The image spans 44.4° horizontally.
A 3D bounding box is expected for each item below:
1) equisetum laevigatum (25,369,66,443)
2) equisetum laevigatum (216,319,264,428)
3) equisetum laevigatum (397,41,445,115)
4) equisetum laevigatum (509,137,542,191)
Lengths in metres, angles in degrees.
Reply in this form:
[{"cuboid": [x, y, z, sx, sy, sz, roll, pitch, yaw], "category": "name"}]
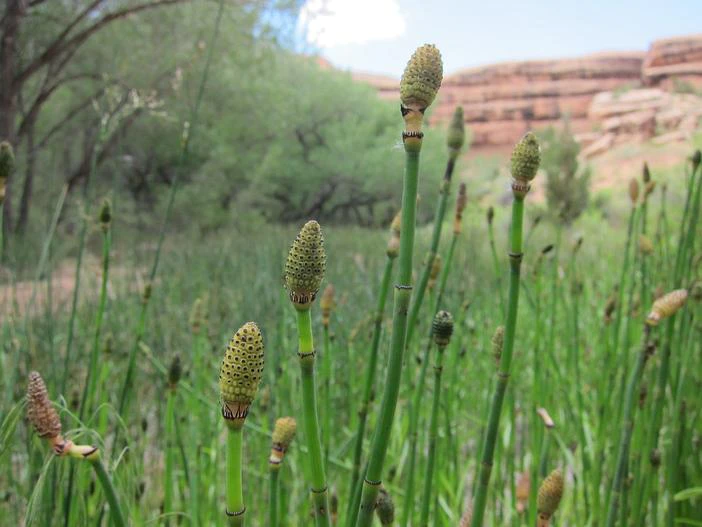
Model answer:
[{"cuboid": [-0.898, 0.419, 2.525, 0.071, 0.236, 0.084, -3, 12, -13], "category": "equisetum laevigatum"}, {"cuboid": [-0.319, 0.288, 2.495, 0.124, 0.323, 0.126, -3, 11, -15], "category": "equisetum laevigatum"}, {"cuboid": [0.211, -0.566, 2.575, 0.126, 0.191, 0.256, 5, -13, 4], "category": "equisetum laevigatum"}, {"cuboid": [0.568, -0.311, 2.785, 0.094, 0.207, 0.153, 3, -12, 13], "category": "equisetum laevigatum"}]
